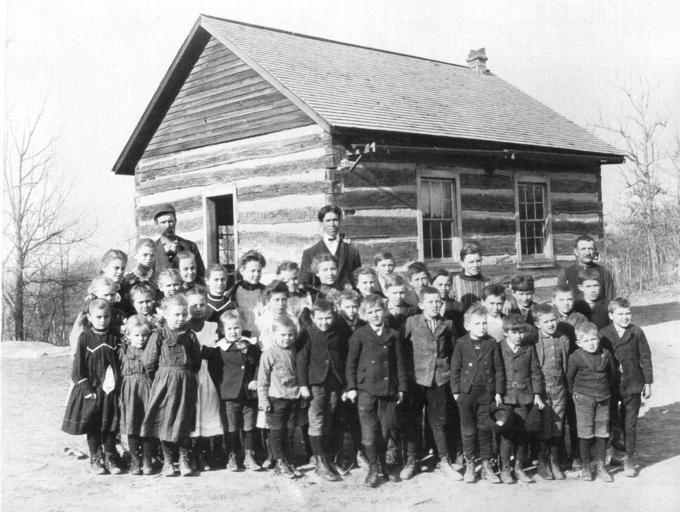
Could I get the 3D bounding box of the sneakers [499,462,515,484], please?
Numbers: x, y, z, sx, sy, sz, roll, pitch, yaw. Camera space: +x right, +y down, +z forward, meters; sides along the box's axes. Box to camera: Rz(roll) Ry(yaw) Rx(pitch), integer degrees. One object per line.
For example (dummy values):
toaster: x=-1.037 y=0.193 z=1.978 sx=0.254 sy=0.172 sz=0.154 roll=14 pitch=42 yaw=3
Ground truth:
sneakers: x=1.527 y=1.991 z=6.802 sx=0.137 sy=0.157 sz=0.149 roll=0 pitch=6 yaw=2

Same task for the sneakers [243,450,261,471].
sneakers: x=-0.785 y=1.931 z=6.999 sx=0.224 sy=0.184 sz=0.105 roll=-2 pitch=-5 yaw=42

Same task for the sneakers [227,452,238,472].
sneakers: x=-1.009 y=1.946 z=6.972 sx=0.068 sy=0.148 sz=0.201 roll=4 pitch=-9 yaw=-7

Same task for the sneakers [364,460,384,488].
sneakers: x=0.315 y=2.035 z=6.838 sx=0.097 sy=0.204 sz=0.297 roll=-2 pitch=-22 yaw=8

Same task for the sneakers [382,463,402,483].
sneakers: x=0.479 y=2.030 z=6.946 sx=0.119 sy=0.101 sz=0.133 roll=0 pitch=5 yaw=3

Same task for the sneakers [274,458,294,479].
sneakers: x=-0.511 y=1.968 z=6.924 sx=0.250 sy=0.182 sz=0.093 roll=0 pitch=-4 yaw=33

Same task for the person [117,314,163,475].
person: x=-1.871 y=1.275 z=6.881 sx=0.329 sy=1.452 sz=0.375 roll=-1 pitch=6 yaw=-3

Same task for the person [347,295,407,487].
person: x=0.353 y=1.314 z=6.957 sx=0.527 sy=1.492 sz=0.462 roll=-4 pitch=7 yaw=-32

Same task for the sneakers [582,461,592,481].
sneakers: x=2.276 y=1.987 z=6.880 sx=0.083 sy=0.157 sz=0.037 roll=1 pitch=-17 yaw=6

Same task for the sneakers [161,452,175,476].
sneakers: x=-1.572 y=1.932 z=6.827 sx=0.084 sy=0.163 sz=0.232 roll=3 pitch=-19 yaw=-12

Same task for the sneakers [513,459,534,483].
sneakers: x=1.662 y=2.003 z=6.851 sx=0.112 sy=0.192 sz=0.241 roll=-2 pitch=-13 yaw=-25

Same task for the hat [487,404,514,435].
hat: x=1.444 y=1.497 z=6.781 sx=0.181 sy=0.266 sz=0.263 roll=-3 pitch=29 yaw=6

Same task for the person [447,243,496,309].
person: x=1.510 y=0.224 z=8.762 sx=0.673 sy=0.880 sz=0.266 roll=-2 pitch=2 yaw=-23

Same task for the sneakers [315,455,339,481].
sneakers: x=-0.138 y=1.971 z=6.869 sx=0.127 sy=0.222 sz=0.305 roll=-6 pitch=-4 yaw=-31

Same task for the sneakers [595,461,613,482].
sneakers: x=2.443 y=1.985 z=6.867 sx=0.137 sy=0.144 sz=0.215 roll=0 pitch=6 yaw=2

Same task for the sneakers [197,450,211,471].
sneakers: x=-1.294 y=1.946 z=7.042 sx=0.098 sy=0.204 sz=0.286 roll=1 pitch=-15 yaw=-25

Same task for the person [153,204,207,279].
person: x=-1.927 y=0.014 z=8.645 sx=0.678 sy=1.143 sz=0.366 roll=2 pitch=9 yaw=14

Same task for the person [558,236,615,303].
person: x=3.037 y=0.148 z=9.340 sx=0.819 sy=1.122 sz=0.420 roll=-1 pitch=-4 yaw=4

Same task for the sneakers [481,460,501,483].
sneakers: x=1.360 y=1.991 z=6.809 sx=0.098 sy=0.197 sz=0.242 roll=4 pitch=-11 yaw=-28

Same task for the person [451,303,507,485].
person: x=1.256 y=1.265 z=6.859 sx=0.500 sy=1.579 sz=0.403 roll=1 pitch=6 yaw=14

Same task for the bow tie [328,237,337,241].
bow tie: x=-0.078 y=-0.193 z=8.235 sx=0.096 sy=0.041 sz=0.063 roll=0 pitch=6 yaw=-1

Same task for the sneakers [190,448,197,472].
sneakers: x=-1.365 y=1.911 z=6.968 sx=0.068 sy=0.213 sz=0.089 roll=-3 pitch=-46 yaw=-15

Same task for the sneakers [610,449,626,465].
sneakers: x=2.682 y=1.948 z=7.180 sx=0.115 sy=0.122 sz=0.135 roll=7 pitch=-9 yaw=-43

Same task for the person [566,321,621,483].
person: x=2.340 y=1.338 z=6.962 sx=0.433 sy=1.415 sz=0.487 roll=2 pitch=6 yaw=20

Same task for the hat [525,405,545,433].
hat: x=1.774 y=1.502 z=6.827 sx=0.173 sy=0.233 sz=0.097 roll=4 pitch=-9 yaw=-6
